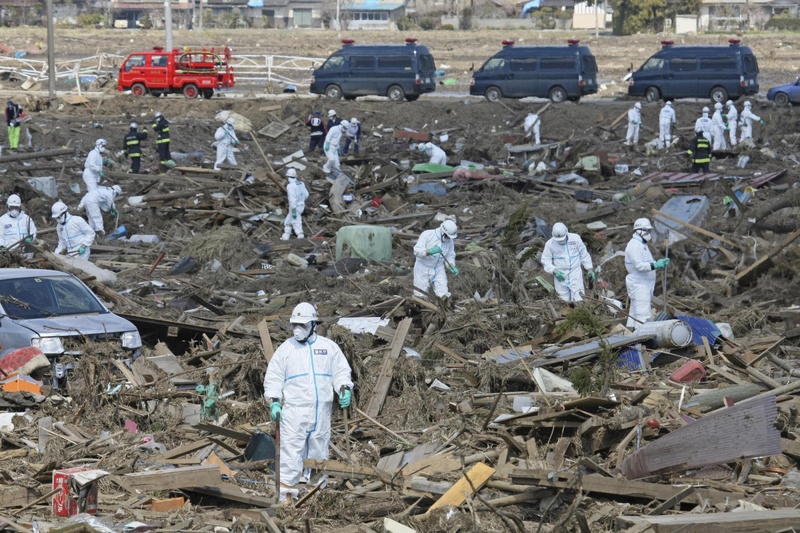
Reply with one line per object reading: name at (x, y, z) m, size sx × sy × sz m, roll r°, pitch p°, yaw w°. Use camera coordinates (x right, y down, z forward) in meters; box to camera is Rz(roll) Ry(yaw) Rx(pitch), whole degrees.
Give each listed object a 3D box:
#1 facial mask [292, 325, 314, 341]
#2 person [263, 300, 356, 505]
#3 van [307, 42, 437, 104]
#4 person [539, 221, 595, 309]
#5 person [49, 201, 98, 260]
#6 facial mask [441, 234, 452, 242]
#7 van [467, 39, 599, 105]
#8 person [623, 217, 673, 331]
facial mask at (-1.393, 0.912, 14.175) m, size 0.243 × 0.184 × 0.291 m, roll -1°, pitch 22°, yaw 11°
person at (-1.260, 2.030, 14.242) m, size 1.296 × 2.828 × 1.018 m, roll -1°, pitch 2°, yaw -21°
van at (-1.108, -7.751, 39.684) m, size 4.570 × 1.813 × 2.349 m, roll 2°, pitch 13°, yaw 10°
person at (3.229, -0.108, 19.302) m, size 0.937 × 1.489 × 0.459 m, roll -1°, pitch 13°, yaw 6°
person at (-7.415, -0.722, 21.385) m, size 0.760 × 1.384 × 1.555 m, roll 2°, pitch -9°, yaw -14°
facial mask at (0.917, -0.556, 19.357) m, size 0.136 × 0.122 × 0.183 m, roll 14°, pitch -13°, yaw -33°
van at (5.193, -7.484, 38.284) m, size 4.263 × 2.310 × 1.050 m, roll 0°, pitch 13°, yaw 9°
person at (4.517, 0.121, 18.693) m, size 1.008 × 2.052 × 1.126 m, roll 0°, pitch 0°, yaw -1°
